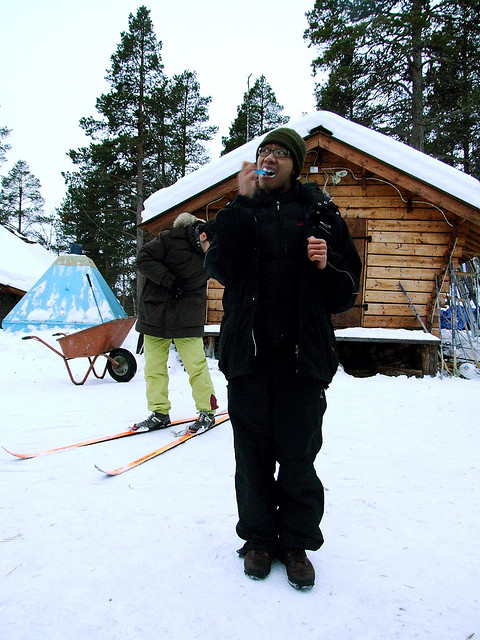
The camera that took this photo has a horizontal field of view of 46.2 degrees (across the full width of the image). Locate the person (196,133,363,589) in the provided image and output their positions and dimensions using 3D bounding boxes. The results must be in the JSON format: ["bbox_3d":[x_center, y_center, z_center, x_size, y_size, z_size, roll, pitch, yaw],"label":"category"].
[{"bbox_3d":[0.143,0.127,2.426,0.569,1.866,0.553,5,6,32],"label":"person"}]

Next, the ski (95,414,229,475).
[{"bbox_3d":[-0.481,0.858,3.946,0.146,0.075,1.490,4,5,26],"label":"ski"}]

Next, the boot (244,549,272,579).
[{"bbox_3d":[0.074,1.021,2.343,0.110,0.095,0.112,2,5,4],"label":"boot"}]

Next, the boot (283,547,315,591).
[{"bbox_3d":[0.246,1.015,2.350,0.110,0.105,0.290,-1,3,-7],"label":"boot"}]

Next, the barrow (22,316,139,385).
[{"bbox_3d":[-1.890,0.405,6.729,1.400,0.679,0.778,-3,-7,16],"label":"barrow"}]
